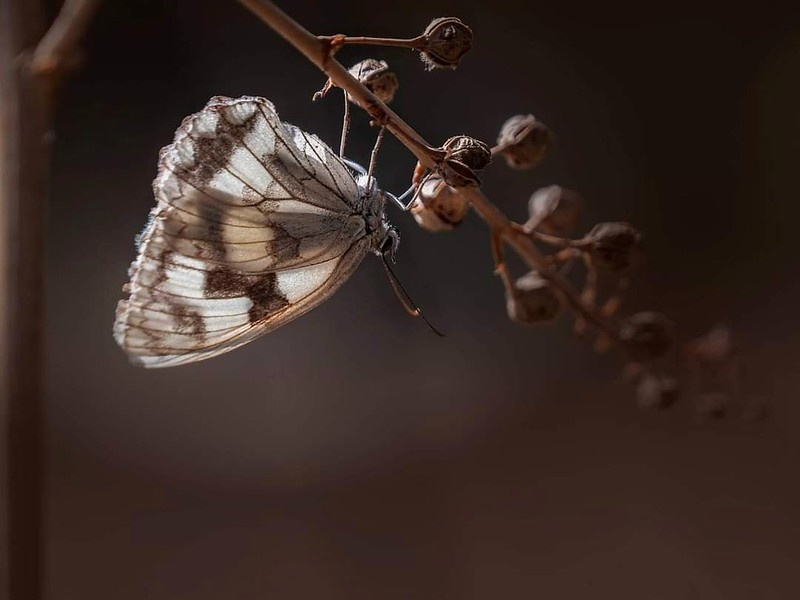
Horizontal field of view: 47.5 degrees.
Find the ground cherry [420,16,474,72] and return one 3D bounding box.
[{"bbox_3d":[0.066,-0.355,1.253,0.070,0.069,0.023,1,17,-5],"label":"ground cherry"}]

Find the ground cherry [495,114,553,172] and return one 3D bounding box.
[{"bbox_3d":[0.186,-0.233,1.375,0.093,0.064,0.037,-26,-26,-3],"label":"ground cherry"}]

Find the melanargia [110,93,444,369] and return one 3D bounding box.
[{"bbox_3d":[-0.205,-0.109,1.385,0.431,0.271,0.445,9,2,18],"label":"melanargia"}]

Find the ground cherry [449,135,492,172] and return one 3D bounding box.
[{"bbox_3d":[0.095,-0.201,1.231,0.044,0.056,0.020,-35,-27,-33],"label":"ground cherry"}]

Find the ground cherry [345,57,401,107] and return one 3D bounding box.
[{"bbox_3d":[-0.035,-0.320,1.323,0.037,0.077,0.078,-50,-25,-5],"label":"ground cherry"}]
